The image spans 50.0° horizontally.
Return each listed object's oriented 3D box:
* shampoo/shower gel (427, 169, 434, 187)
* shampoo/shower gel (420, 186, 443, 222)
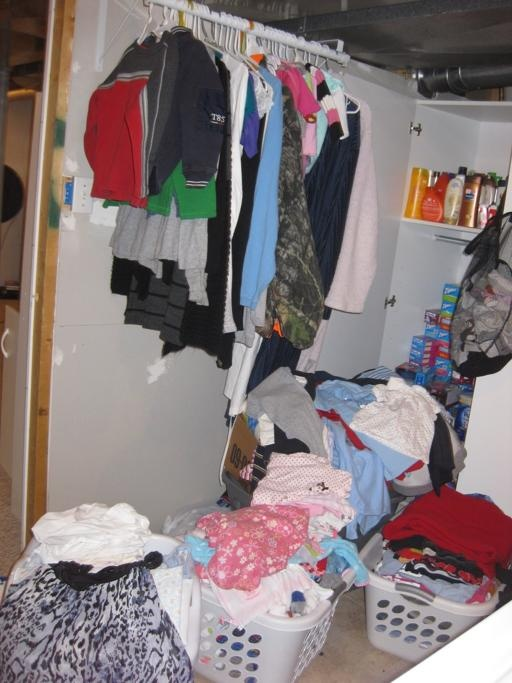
[{"bbox_3d":[0.781,-0.731,2.462,0.016,0.071,0.047,9,10,-7],"label":"shampoo/shower gel"},{"bbox_3d":[0.775,-0.606,2.423,0.103,0.145,0.035,8,13,39],"label":"shampoo/shower gel"}]
